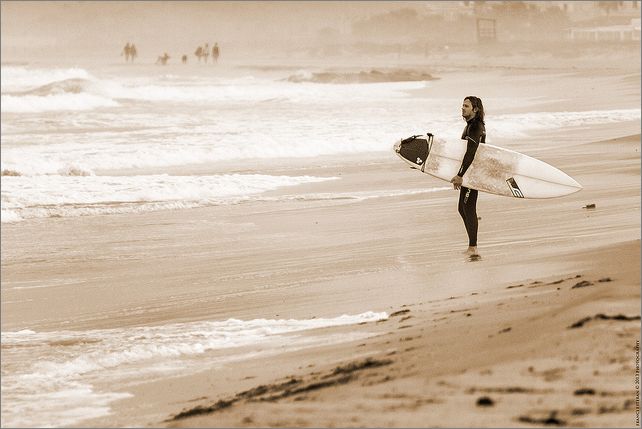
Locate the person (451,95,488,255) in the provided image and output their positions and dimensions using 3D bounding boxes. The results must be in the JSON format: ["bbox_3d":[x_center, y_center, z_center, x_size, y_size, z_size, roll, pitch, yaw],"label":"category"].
[{"bbox_3d":[2.813,-0.782,17.625,0.675,2.948,0.900,-3,17,13],"label":"person"}]
